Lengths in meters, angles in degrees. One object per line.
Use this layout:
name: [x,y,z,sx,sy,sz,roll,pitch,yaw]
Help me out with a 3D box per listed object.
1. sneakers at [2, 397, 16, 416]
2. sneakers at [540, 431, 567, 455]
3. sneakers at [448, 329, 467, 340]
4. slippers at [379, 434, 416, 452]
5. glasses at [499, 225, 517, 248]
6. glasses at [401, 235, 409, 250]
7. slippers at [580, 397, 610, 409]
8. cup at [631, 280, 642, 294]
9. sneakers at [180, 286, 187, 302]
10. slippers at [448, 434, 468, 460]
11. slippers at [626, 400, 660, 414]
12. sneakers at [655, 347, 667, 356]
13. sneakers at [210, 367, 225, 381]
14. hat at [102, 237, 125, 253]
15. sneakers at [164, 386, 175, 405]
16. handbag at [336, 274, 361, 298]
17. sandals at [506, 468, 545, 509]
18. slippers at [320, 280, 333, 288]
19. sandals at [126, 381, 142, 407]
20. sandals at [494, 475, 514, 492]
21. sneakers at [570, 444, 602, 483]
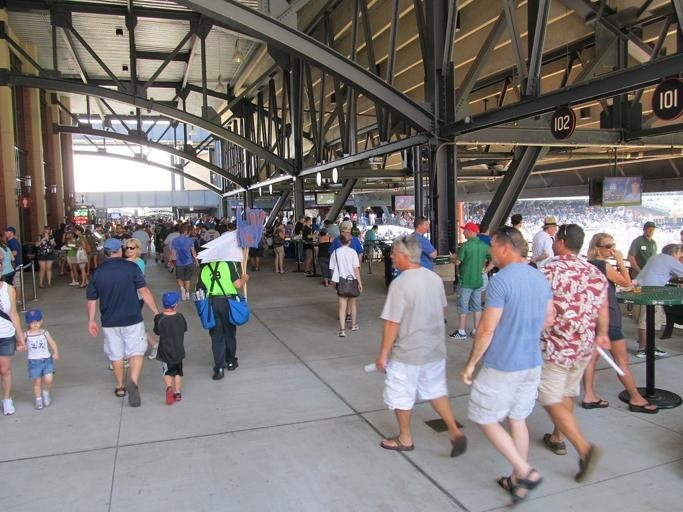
sneakers: [-4.490,2.014,7.279,0.140,0.099,0.266,-4,8,-41]
sneakers: [2.458,2.116,6.132,0.129,0.120,0.313,-7,15,-10]
sneakers: [2.249,1.460,10.141,0.143,0.167,0.383,-1,0,-29]
slippers: [0.673,2.150,6.231,0.305,0.101,0.165,4,-2,16]
glasses: [1.701,-0.209,5.347,0.188,0.056,0.177,30,-9,-6]
glasses: [0.721,-0.163,5.855,0.090,0.110,0.045,3,-12,-13]
slippers: [3.348,1.897,6.982,0.261,0.086,0.141,-3,1,-6]
cup: [4.225,0.426,7.632,0.166,0.157,0.165,0,5,0]
sneakers: [-4.360,1.026,14.967,0.177,0.425,0.189,-14,-12,5]
slippers: [1.371,2.078,6.021,0.262,0.275,0.145,-5,10,-23]
slippers: [3.884,1.892,6.840,0.255,0.078,0.145,-2,0,19]
sneakers: [5.303,1.541,8.851,0.125,0.118,0.313,0,7,8]
sneakers: [-1.915,1.823,8.413,0.207,0.189,0.129,5,-4,-6]
hat: [-3.193,-0.161,7.575,0.193,0.140,0.263,3,34,-9]
sneakers: [-2.379,1.929,7.533,0.118,0.241,0.106,5,1,-33]
handbag: [0.174,0.557,10.637,0.472,0.414,0.187,1,11,-10]
sandals: [1.823,2.239,5.267,0.181,0.181,0.487,-6,-10,0]
slippers: [-0.383,0.853,16.796,0.155,0.197,0.493,-1,-8,-21]
sandals: [-2.873,1.881,7.470,0.187,0.357,0.136,-5,0,-15]
sandals: [1.681,2.286,5.475,0.080,0.089,0.221,-2,11,-13]
sneakers: [2.531,2.091,5.496,0.165,0.437,0.177,9,21,-39]
